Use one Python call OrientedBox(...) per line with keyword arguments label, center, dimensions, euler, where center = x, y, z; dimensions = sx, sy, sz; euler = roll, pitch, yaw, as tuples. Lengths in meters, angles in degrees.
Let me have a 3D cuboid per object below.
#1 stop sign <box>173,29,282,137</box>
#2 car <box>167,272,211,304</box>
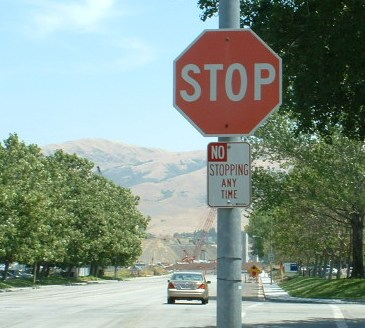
OrientedBox(label="stop sign", center=(0.625, -1.117, 9.047), dimensions=(1.481, 1.503, 0.133), euler=(0, 0, 7))
OrientedBox(label="car", center=(0.313, 5.782, 31.432), dimensions=(1.392, 1.208, 3.488), euler=(-1, -9, 6))
